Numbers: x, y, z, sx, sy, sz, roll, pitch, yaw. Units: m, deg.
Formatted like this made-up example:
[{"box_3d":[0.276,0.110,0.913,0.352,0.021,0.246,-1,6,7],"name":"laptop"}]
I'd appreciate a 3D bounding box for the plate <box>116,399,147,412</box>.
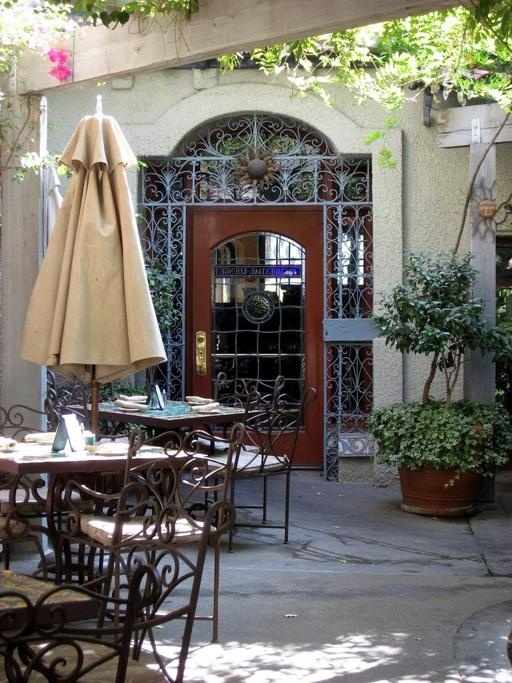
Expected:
[{"box_3d":[-0.817,0.415,4.682,0.113,0.032,0.108,4,-3,43],"name":"plate"}]
